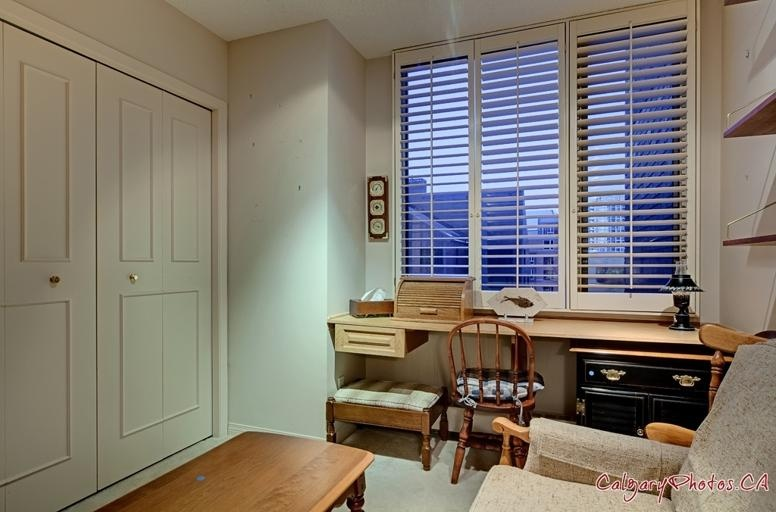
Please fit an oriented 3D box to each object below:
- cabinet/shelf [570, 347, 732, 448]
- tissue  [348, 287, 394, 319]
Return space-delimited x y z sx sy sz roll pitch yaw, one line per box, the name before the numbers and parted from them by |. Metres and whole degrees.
cabinet/shelf | 1.814 0.739 3.730 0.937 0.916 0.589 -1 -6 22
tissue  | -0.144 0.349 4.378 0.319 0.246 0.228 2 -3 -21
